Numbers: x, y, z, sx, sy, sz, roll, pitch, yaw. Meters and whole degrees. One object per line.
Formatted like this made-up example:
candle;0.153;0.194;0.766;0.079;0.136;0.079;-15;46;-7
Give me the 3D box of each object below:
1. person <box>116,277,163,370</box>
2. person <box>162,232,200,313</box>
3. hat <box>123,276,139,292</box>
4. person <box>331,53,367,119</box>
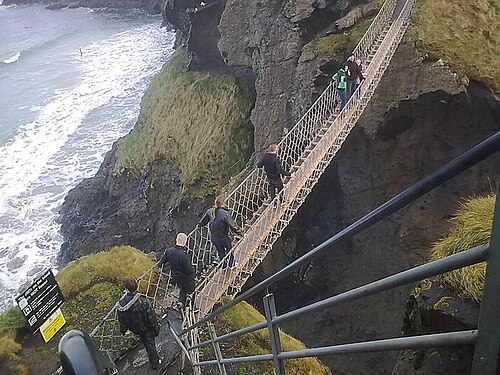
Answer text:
person;-3.823;4.824;17.201;1.222;3.373;1.095;-7;32;10
person;-2.586;3.149;18.226;1.173;3.172;0.880;-12;31;2
hat;-4.146;3.295;17.045;0.432;0.612;0.579;-7;27;-15
person;4.577;-4.805;22.368;1.352;2.061;0.854;-14;31;1
